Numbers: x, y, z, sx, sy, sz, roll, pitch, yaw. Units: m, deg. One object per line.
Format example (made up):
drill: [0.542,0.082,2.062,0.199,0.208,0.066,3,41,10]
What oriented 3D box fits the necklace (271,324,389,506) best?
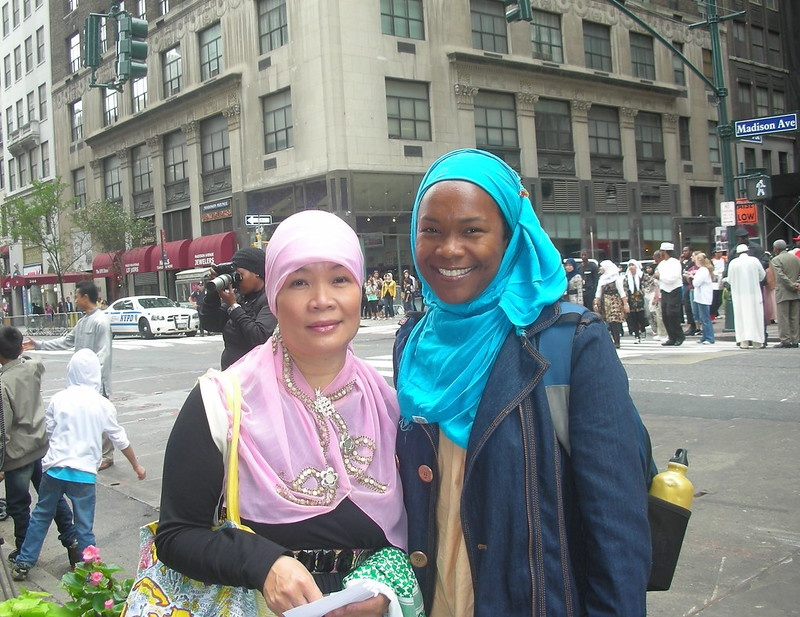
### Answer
necklace: [-0.275,0.444,2.743,0.457,0.637,0.195,-7,-10,-26]

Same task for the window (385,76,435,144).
window: [0.301,-8.304,30.584,2.632,2.928,0.214,-3,5,-39]

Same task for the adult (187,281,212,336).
adult: [-4.646,-0.011,17.473,0.559,1.253,0.250,-4,3,-4]

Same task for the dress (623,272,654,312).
dress: [5.270,-0.350,16.511,0.761,1.007,0.426,0,-5,-11]

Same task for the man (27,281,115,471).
man: [-3.927,0.777,8.881,1.029,2.169,0.548,-4,-6,3]

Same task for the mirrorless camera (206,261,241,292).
mirrorless camera: [-1.372,-0.248,5.743,0.201,0.143,0.230,-1,2,27]

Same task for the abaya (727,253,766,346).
abaya: [6.793,-0.262,14.532,0.747,2.003,0.768,-6,-5,25]

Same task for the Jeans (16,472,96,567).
Jeans: [-2.581,1.582,5.578,0.568,0.636,0.262,-8,5,-22]

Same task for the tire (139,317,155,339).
tire: [-8.954,0.662,26.329,0.242,0.706,0.638,-4,6,-36]

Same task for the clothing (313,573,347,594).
clothing: [-0.252,0.982,2.628,0.091,0.070,0.009,-3,1,-14]

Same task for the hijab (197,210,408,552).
hijab: [-0.337,0.453,2.867,0.804,1.649,0.465,-7,13,-29]
